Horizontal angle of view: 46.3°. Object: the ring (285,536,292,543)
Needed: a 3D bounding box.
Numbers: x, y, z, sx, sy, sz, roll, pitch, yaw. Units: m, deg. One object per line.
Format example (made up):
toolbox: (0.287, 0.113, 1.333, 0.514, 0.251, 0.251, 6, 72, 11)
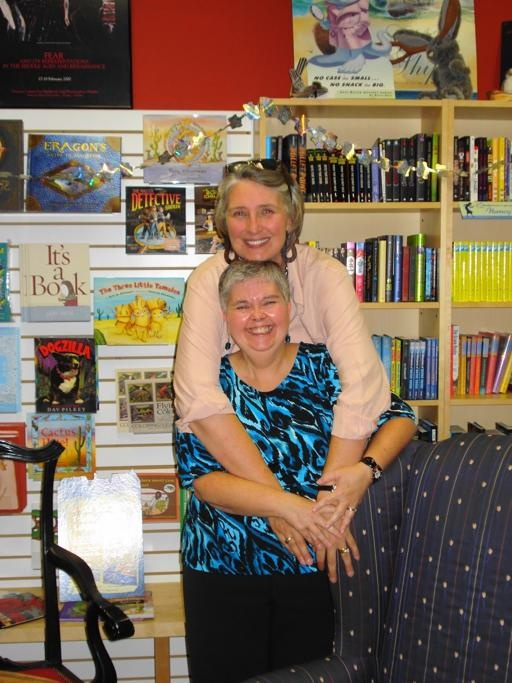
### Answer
ring: (0.071, 0.430, 1.298, 0.016, 0.015, 0.015, -11, -17, -3)
